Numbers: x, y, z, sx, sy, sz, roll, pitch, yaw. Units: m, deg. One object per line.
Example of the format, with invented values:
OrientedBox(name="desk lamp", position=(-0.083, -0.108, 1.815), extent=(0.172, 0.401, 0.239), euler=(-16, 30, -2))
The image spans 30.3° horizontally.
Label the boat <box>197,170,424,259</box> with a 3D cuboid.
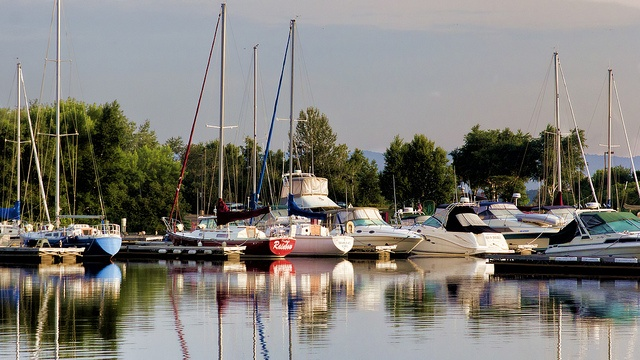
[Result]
OrientedBox(name="boat", position=(1.230, 3.991, 119.018), extent=(27.746, 9.636, 8.750), euler=(0, -2, -7))
